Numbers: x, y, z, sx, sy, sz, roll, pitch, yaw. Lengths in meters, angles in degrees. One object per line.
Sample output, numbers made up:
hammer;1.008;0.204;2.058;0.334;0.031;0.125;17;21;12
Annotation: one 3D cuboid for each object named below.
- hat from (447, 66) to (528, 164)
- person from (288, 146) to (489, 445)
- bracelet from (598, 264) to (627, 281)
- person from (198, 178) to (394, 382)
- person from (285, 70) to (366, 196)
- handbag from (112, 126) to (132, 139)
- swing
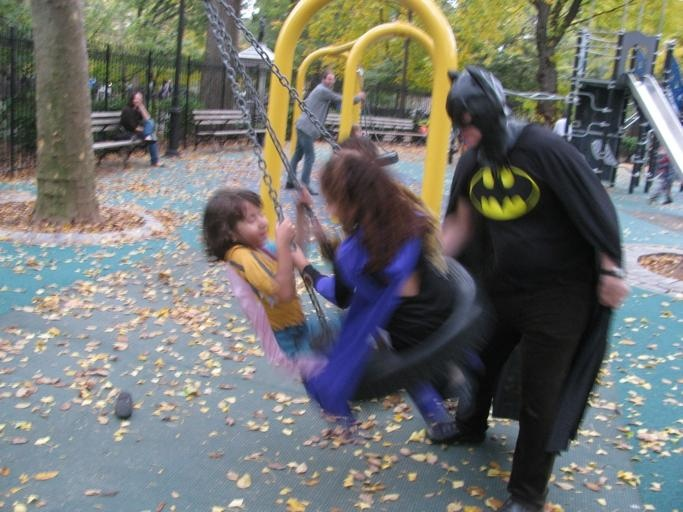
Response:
hat;0.627;-0.702;2.545;0.424;0.441;0.308;-26;11;-41
person;0.245;0.247;2.671;0.922;1.381;0.867;-12;14;-27
bracelet;1.246;0.069;2.349;0.156;0.063;0.077;-4;15;-18
person;-0.248;-0.033;3.194;1.054;1.334;0.715;-20;14;-3
person;-0.313;-2.442;9.951;1.272;2.288;0.719;5;17;-11
handbag;-4.884;-2.810;11.460;0.534;0.245;0.203;2;28;19
swing;0.004;0.060;3.345;1.311;2.006;1.360;-8;-3;2
